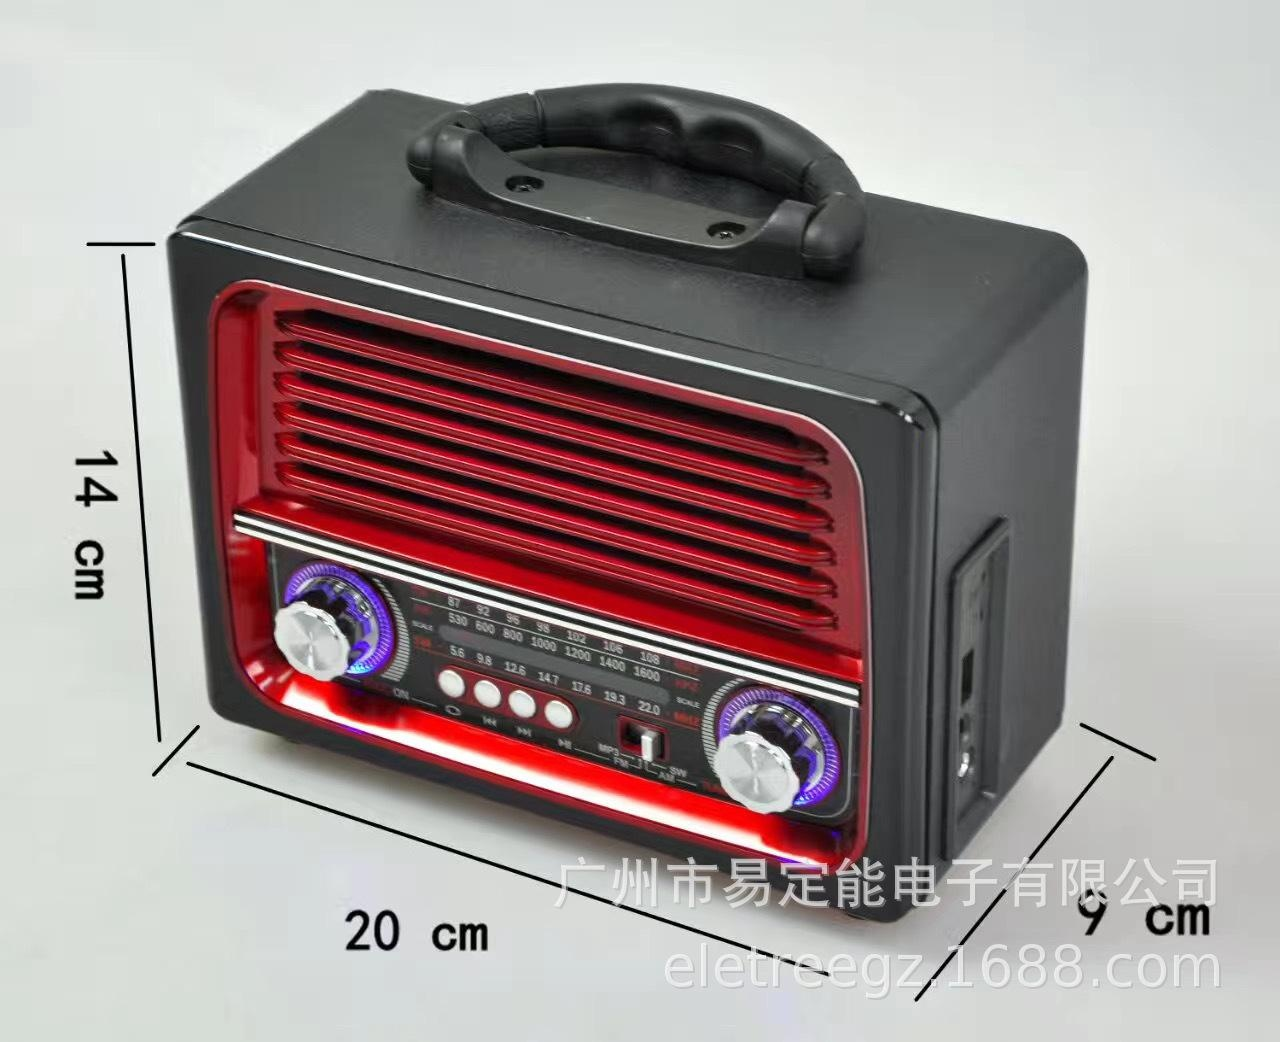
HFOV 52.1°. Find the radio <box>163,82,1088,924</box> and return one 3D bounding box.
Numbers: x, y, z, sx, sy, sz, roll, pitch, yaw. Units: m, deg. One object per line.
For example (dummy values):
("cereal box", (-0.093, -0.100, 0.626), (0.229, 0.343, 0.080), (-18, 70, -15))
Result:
("radio", (0.009, -0.012, 0.987), (0.595, 0.289, 0.481), (17, -50, 22))
